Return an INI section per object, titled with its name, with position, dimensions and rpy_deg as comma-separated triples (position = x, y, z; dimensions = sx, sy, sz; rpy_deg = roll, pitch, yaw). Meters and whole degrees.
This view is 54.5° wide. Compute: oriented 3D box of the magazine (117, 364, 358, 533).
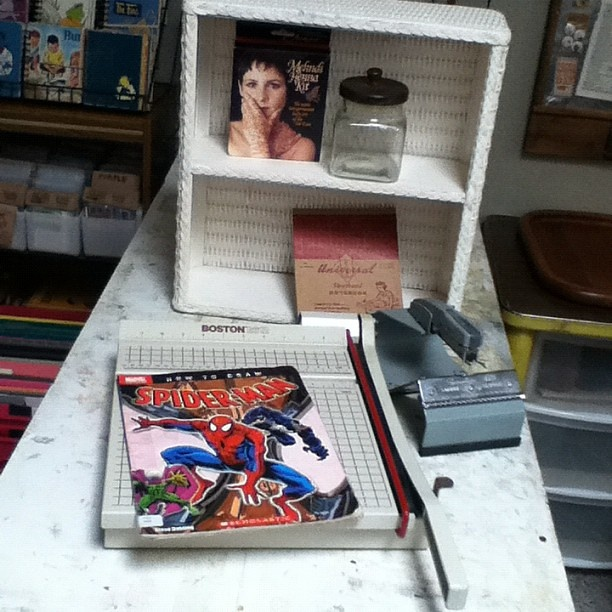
[magazine]
position = -0.097, 0.186, 0.822
dimensions = 0.235, 0.191, 0.210
rpy_deg = -3, 32, -14

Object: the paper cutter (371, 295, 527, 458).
[paper cutter]
position = 0.216, 0.112, 1.099
dimensions = 0.231, 0.142, 0.320
rpy_deg = -4, 32, -10

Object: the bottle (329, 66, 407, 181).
[bottle]
position = 0.129, -0.357, 1.164
dimensions = 0.148, 0.202, 0.161
rpy_deg = 7, 30, -4
